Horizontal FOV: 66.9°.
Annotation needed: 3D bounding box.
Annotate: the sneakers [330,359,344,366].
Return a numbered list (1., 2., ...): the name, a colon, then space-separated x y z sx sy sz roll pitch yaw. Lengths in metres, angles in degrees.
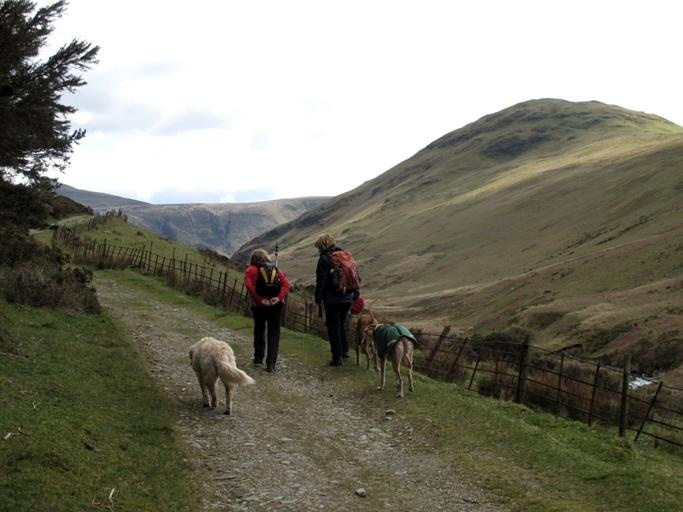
1. sneakers: -0.130 2.896 14.028 0.196 0.094 0.290 5 -10 -36

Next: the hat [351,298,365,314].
1. hat: 0.441 1.338 13.670 0.485 0.425 0.344 3 5 0

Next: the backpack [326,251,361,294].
1. backpack: 0.078 0.403 12.986 0.784 1.066 0.462 6 6 -28

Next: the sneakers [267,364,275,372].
1. sneakers: -1.772 2.795 12.860 0.121 0.119 0.310 2 -1 17
